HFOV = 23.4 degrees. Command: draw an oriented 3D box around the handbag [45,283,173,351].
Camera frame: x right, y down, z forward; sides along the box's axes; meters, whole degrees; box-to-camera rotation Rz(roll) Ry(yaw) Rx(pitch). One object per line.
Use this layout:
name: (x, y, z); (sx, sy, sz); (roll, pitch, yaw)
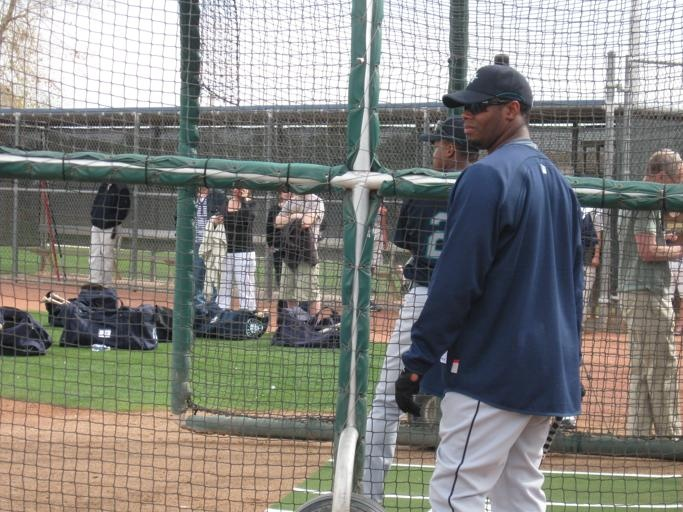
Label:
handbag: (-2.545, 0.722, 17.952); (1.281, 0.474, 0.916); (1, -2, 7)

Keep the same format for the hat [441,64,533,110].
hat: (1.145, -1.306, 12.936); (0.777, 0.381, 0.489); (6, -1, -11)

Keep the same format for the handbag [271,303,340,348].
handbag: (-0.337, 0.734, 16.676); (0.470, 0.277, 0.616); (4, -7, -39)

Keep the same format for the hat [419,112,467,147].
hat: (0.936, -1.099, 14.228); (0.499, 0.279, 0.346); (4, 3, 12)

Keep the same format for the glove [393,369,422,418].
glove: (0.526, 1.061, 12.731); (0.127, 0.303, 0.301); (11, 20, 9)

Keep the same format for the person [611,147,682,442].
person: (2.804, 0.623, 15.069); (0.603, 2.040, 0.628); (1, -1, 9)
